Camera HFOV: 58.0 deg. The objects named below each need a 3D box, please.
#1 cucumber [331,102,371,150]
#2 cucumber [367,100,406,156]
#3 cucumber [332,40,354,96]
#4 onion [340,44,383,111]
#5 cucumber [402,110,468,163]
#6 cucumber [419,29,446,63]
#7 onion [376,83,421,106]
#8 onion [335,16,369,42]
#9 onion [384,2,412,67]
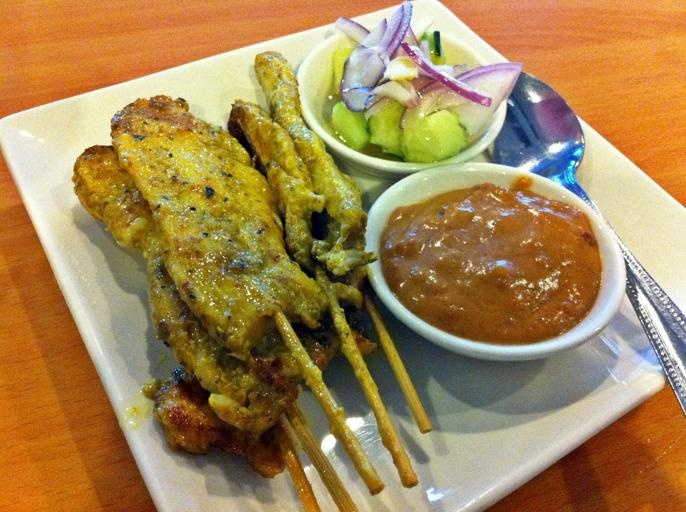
[{"bbox_3d":[0.050,-0.642,3.034,0.168,0.078,0.236,-36,93,23],"label":"cucumber"},{"bbox_3d":[0.226,-0.640,2.963,0.209,0.193,0.076,10,87,-2],"label":"cucumber"},{"bbox_3d":[-0.025,-0.956,3.129,0.063,0.192,0.243,7,75,-37],"label":"cucumber"},{"bbox_3d":[0.084,-0.850,2.949,0.211,0.078,0.318,6,80,22],"label":"onion"},{"bbox_3d":[0.431,-0.544,2.875,0.303,0.183,0.187,-17,61,-8],"label":"cucumber"},{"bbox_3d":[0.459,-1.072,3.169,0.121,0.042,0.178,-15,89,-16],"label":"cucumber"},{"bbox_3d":[0.245,-0.760,2.876,0.214,0.079,0.107,5,61,4],"label":"onion"},{"bbox_3d":[0.054,-1.161,3.202,0.180,0.043,0.094,38,105,8],"label":"onion"},{"bbox_3d":[0.267,-1.093,3.020,0.112,0.053,0.309,26,85,3],"label":"onion"}]
